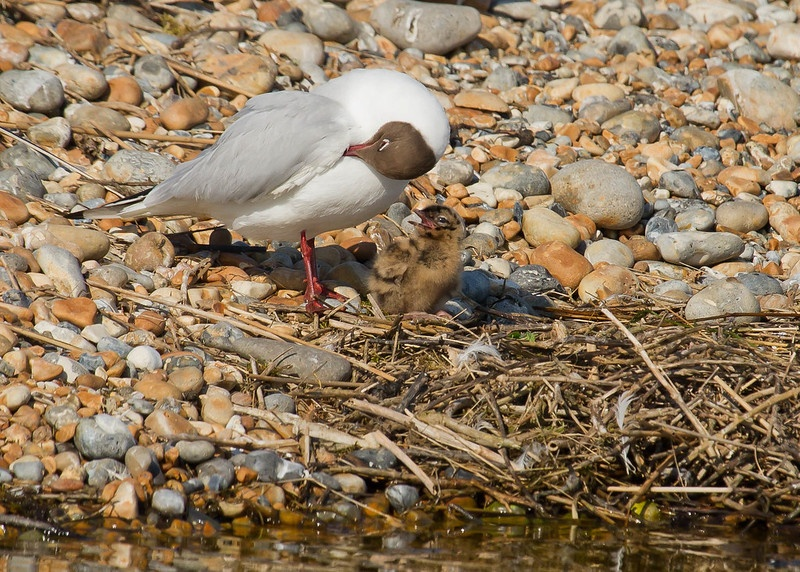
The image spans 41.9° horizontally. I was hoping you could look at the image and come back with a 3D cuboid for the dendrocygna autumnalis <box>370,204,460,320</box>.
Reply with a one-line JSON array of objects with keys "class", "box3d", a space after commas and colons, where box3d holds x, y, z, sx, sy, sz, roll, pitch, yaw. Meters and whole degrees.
[{"class": "dendrocygna autumnalis", "box3d": [0.143, -0.151, 8.198, 1.063, 0.703, 0.825, -3, 88, 3]}]
